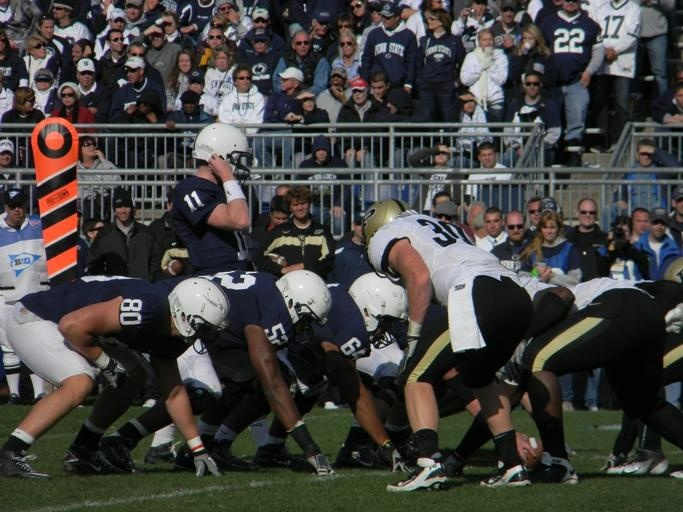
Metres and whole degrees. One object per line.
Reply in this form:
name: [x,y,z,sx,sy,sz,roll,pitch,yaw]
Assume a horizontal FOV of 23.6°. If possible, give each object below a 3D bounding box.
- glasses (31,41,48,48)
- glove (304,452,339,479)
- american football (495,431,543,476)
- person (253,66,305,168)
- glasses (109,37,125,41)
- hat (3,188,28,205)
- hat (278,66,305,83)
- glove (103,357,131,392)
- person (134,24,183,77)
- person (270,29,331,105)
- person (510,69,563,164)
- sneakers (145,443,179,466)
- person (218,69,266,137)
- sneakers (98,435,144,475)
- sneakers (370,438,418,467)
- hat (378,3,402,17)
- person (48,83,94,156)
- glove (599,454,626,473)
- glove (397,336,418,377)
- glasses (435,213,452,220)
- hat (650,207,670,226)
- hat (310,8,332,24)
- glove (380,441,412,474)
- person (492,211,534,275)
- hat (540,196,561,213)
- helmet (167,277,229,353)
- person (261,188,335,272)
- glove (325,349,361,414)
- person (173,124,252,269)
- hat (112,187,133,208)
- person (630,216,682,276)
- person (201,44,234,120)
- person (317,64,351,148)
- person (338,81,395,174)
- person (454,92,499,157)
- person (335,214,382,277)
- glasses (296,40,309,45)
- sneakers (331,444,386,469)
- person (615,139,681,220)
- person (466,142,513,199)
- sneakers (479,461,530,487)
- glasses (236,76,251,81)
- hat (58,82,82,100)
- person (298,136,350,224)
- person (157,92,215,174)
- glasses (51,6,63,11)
glasses: [-4.442,-3.105,24.005,0.108,0.103,0.209,4,6,34]
glove: [-0.226,2.144,16.327,0.225,0.277,0.109,-15,-26,-34]
american football: [1.874,2.003,16.592,0.224,0.395,0.283,-12,33,-29]
person: [-0.874,-1.909,22.239,0.655,1.327,1.474,0,5,-2]
glasses: [-3.265,-3.163,23.764,0.140,0.091,0.370,2,5,14]
hat: [-4.004,-0.728,19.897,0.336,0.259,0.555,0,3,-13]
hat: [-0.704,-2.547,22.863,0.272,0.151,0.204,4,2,-13]
glove: [-2.241,1.152,16.157,0.293,0.233,0.136,23,11,15]
person: [-2.695,-2.745,23.772,0.595,1.229,0.392,0,-16,3]
person: [-0.614,-2.789,23.680,0.784,0.903,1.146,-1,16,2]
person: [2.665,-1.938,22.674,0.644,1.322,1.207,2,5,21]
sneakers: [-1.838,2.087,17.217,0.489,0.230,0.164,-1,7,-22]
person: [-1.445,-2.114,22.857,0.729,1.102,0.608,2,0,-6]
sneakers: [-2.275,2.010,16.517,0.571,0.243,0.191,41,8,0]
sneakers: [0.567,2.043,16.805,0.573,0.278,0.202,-6,0,25]
hat: [0.673,-3.565,23.651,0.240,0.188,0.408,14,15,16]
person: [-3.758,-2.002,22.598,0.709,0.789,0.406,-2,-10,0]
glove: [2.780,2.131,16.799,0.311,0.148,0.117,-16,1,-1]
glove: [0.685,0.998,16.179,0.126,0.352,0.240,24,-9,-27]
glasses: [1.257,-0.486,20.206,0.127,0.071,0.100,0,10,-13]
hat: [3.840,-0.490,19.974,0.241,0.188,0.409,5,-8,6]
hat: [-0.332,-3.607,24.509,0.203,0.156,0.286,2,4,-24]
glove: [0.538,2.077,16.726,0.137,0.310,0.106,-45,-2,28]
person: [2.027,-0.136,19.504,0.592,1.040,0.393,-1,-28,6]
hat: [2.540,-0.625,20.040,0.168,0.235,0.233,3,29,26]
helmet: [-1.437,0.507,15.942,0.471,0.530,0.648,18,31,3]
person: [-0.555,-0.293,20.117,0.910,1.616,0.559,-1,-5,-4]
glove: [-0.015,1.335,16.787,0.212,0.605,0.281,15,4,40]
person: [-1.348,-0.588,16.694,0.789,1.520,0.585,0,5,-5]
hat: [-2.722,-0.718,20.297,0.227,0.268,0.317,-4,-10,-24]
person: [3.715,-0.107,19.526,0.590,0.940,0.330,1,-34,5]
person: [-1.769,-2.417,23.438,0.632,1.057,0.361,-5,29,-12]
person: [-0.096,-1.887,22.692,0.526,1.392,0.471,-3,-11,15]
person: [0.229,-1.470,22.150,0.735,1.902,0.643,-1,4,7]
person: [1.738,-1.781,22.287,0.551,1.056,0.610,-10,-6,2]
person: [0.144,-0.077,19.993,0.511,0.767,0.458,-1,-6,1]
glasses: [-0.572,-3.095,23.633,0.168,0.078,0.098,0,5,-8]
sneakers: [0.199,2.071,16.885,0.618,0.266,0.215,-2,-7,9]
person: [3.929,-0.949,20.818,0.751,1.003,0.564,-9,-30,19]
person: [1.909,-1.114,21.281,0.568,0.733,1.185,1,5,6]
sneakers: [1.614,2.142,15.961,0.563,0.271,0.197,-1,-3,11]
glasses: [-1.398,-2.496,22.876,0.196,0.066,0.058,0,5,-5]
hat: [-3.786,-2.269,22.673,0.226,0.309,0.224,-10,21,-11]
person: [-0.257,-0.960,21.110,0.681,1.165,0.690,-8,-1,11]
person: [-2.125,-1.684,22.280,0.774,1.242,0.606,-1,-2,-10]
glasses: [-4.504,-3.914,25.719,0.167,0.054,0.180,3,-1,17]
